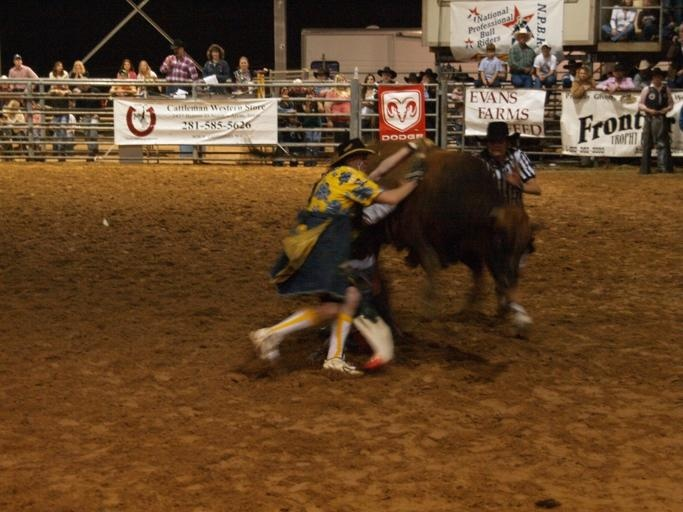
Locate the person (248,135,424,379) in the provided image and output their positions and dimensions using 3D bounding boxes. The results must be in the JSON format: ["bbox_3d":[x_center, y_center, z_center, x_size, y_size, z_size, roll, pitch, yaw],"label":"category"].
[{"bbox_3d":[0.031,0.003,6.694,0.791,1.917,1.307,12,18,42],"label":"person"}]

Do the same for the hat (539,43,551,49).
[{"bbox_3d":[3.910,-4.074,15.614,0.203,0.079,0.274,6,8,20],"label":"hat"}]

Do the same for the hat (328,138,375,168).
[{"bbox_3d":[0.131,-0.868,6.655,0.348,0.102,0.291,-16,2,-38],"label":"hat"}]

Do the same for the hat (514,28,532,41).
[{"bbox_3d":[3.507,-4.313,15.770,0.498,0.100,0.417,2,-11,6],"label":"hat"}]

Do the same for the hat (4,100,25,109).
[{"bbox_3d":[-6.535,-3.028,16.188,0.234,0.125,0.352,4,10,44],"label":"hat"}]
